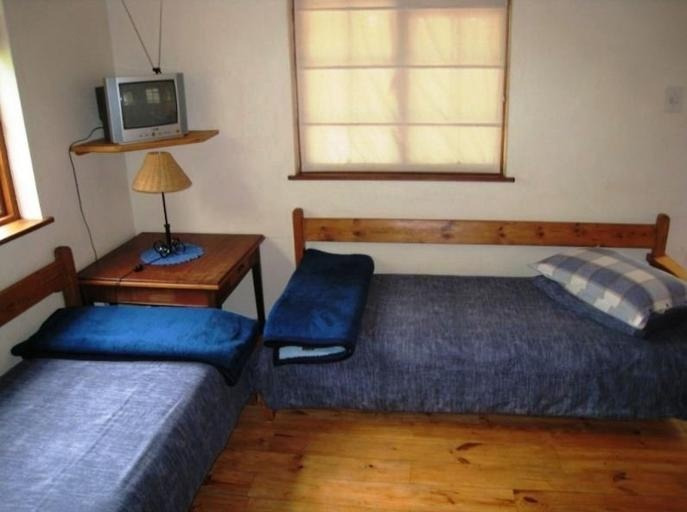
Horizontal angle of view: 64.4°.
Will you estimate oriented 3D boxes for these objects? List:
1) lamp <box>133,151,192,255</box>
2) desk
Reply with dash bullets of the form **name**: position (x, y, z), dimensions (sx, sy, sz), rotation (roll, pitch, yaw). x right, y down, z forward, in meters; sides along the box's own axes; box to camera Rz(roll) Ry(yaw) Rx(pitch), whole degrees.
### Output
- **lamp**: position (-1.128, -0.348, 3.399), dimensions (0.399, 0.711, 0.393), rotation (-8, 29, -20)
- **desk**: position (-0.997, -0.051, 3.198), dimensions (0.677, 0.630, 0.671), rotation (2, 25, 3)
